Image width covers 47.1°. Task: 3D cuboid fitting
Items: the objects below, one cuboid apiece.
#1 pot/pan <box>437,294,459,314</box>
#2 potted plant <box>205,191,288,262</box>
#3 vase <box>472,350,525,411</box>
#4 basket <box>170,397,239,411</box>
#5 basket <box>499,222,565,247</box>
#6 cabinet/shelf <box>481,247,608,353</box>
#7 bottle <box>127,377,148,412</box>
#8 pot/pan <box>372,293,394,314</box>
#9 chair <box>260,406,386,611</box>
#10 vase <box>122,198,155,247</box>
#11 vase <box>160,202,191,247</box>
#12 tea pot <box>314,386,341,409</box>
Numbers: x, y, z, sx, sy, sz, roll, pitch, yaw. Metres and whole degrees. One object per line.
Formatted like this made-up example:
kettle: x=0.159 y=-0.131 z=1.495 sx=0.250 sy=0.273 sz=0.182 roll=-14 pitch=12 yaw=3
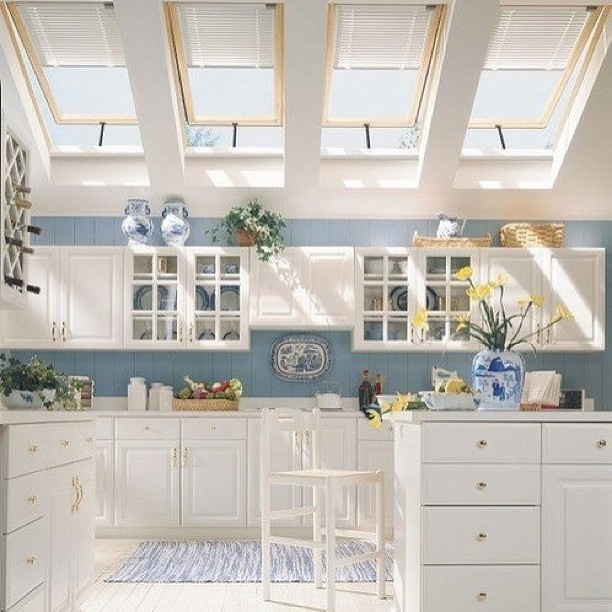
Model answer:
pot/pan: x=1.003 y=-0.009 z=4.930 sx=0.108 sy=0.223 sz=0.112 roll=1 pitch=1 yaw=0
potted plant: x=-0.374 y=-0.540 z=5.085 sx=0.466 sy=0.356 sz=0.451 roll=4 pitch=-9 yaw=0
vase: x=0.814 y=0.365 z=2.960 sx=0.203 sy=0.305 sz=0.173 roll=-5 pitch=-44 yaw=22
basket: x=-0.695 y=0.681 z=4.845 sx=0.449 sy=0.081 sz=0.165 roll=1 pitch=-2 yaw=-14
basket: x=1.623 y=-0.500 z=5.042 sx=0.434 sy=0.182 sz=0.216 roll=0 pitch=-1 yaw=19
cabinet/shelf: x=1.574 y=-0.035 z=4.611 sx=0.565 sy=0.606 sz=0.244 roll=0 pitch=-6 yaw=1
bottle: x=-1.195 y=0.621 z=4.971 sx=0.123 sy=0.215 sz=0.160 roll=1 pitch=-1 yaw=-22
pot/pan: x=0.536 y=-0.014 z=4.928 sx=0.112 sy=0.124 sz=0.030 roll=3 pitch=-7 yaw=-4
chair: x=0.110 y=1.064 z=4.019 sx=0.697 sy=0.986 sz=1.481 roll=0 pitch=-1 yaw=0
vase: x=-1.174 y=-0.562 z=5.036 sx=0.249 sy=0.485 sz=0.313 roll=-1 pitch=1 yaw=-7
vase: x=-0.942 y=-0.584 z=5.059 sx=0.186 sy=0.306 sz=0.169 roll=1 pitch=-1 yaw=-13
tea pot: x=0.171 y=0.663 z=5.039 sx=0.118 sy=0.128 sz=0.131 roll=-1 pitch=-6 yaw=11
